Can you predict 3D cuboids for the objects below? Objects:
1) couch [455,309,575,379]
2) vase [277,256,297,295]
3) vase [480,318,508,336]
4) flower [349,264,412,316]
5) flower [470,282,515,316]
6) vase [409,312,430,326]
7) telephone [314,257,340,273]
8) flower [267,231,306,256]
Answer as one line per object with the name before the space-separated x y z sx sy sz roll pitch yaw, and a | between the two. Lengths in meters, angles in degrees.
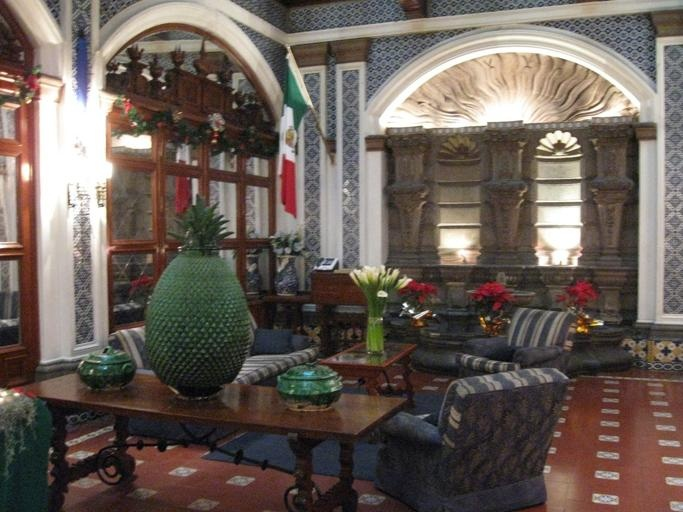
couch | 1.825 0.943 5.956 1.155 0.726 1.101 4 0 -41
vase | -0.871 0.312 9.151 0.355 0.629 0.165 6 0 -4
vase | 1.944 0.864 7.111 0.492 0.221 0.388 0 -5 5
flower | 0.430 0.371 6.127 0.826 0.503 0.660 1 3 5
flower | 1.919 0.528 7.000 0.552 0.267 0.516 4 6 35
vase | 1.097 0.860 7.843 0.216 0.216 0.344 5 0 11
telephone | -0.217 0.132 9.055 0.402 0.158 0.284 -3 -2 28
flower | -0.881 -0.192 9.121 0.574 0.215 0.451 0 2 -6
